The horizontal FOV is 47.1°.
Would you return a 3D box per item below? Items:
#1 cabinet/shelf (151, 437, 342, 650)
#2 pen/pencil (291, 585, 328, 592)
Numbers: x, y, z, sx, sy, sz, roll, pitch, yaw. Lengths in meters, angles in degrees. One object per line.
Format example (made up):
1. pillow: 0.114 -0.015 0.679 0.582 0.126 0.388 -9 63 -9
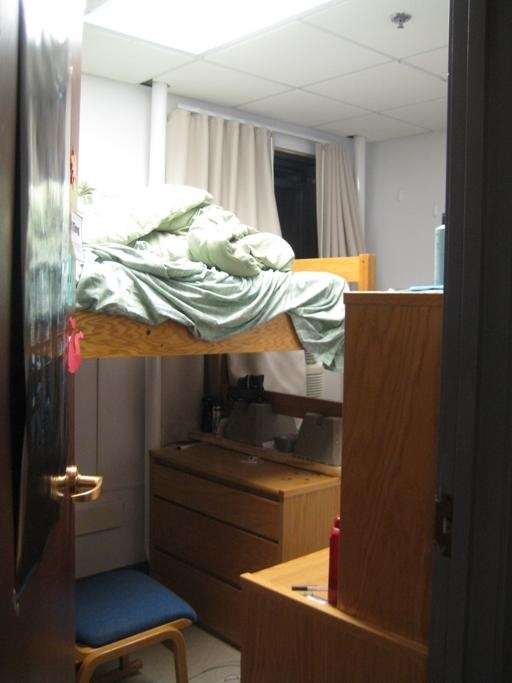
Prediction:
1. cabinet/shelf: -0.093 0.922 2.773 0.835 0.751 0.425 5 3 39
2. pen/pencil: 0.113 0.533 1.264 0.072 0.015 0.013 7 35 -8
